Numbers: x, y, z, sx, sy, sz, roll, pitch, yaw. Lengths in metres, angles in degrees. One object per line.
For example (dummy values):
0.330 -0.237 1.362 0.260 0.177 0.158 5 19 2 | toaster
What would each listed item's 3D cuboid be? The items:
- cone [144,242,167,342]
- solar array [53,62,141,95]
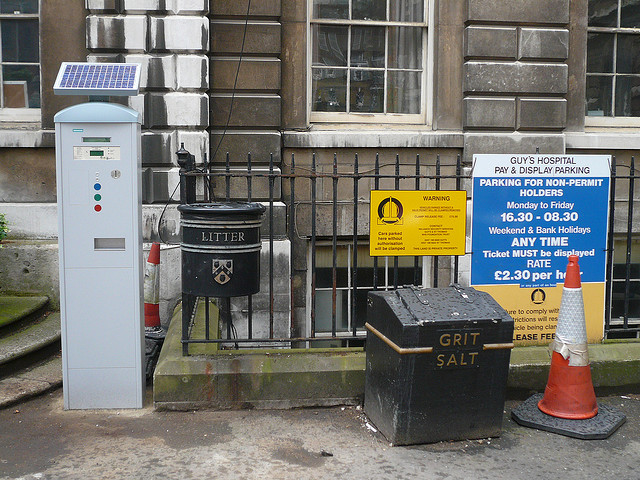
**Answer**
-1.929 0.566 12.874 0.226 0.942 0.472 2 11 -11 | cone
-2.283 -1.627 11.498 0.841 0.349 0.390 -2 5 -5 | solar array
